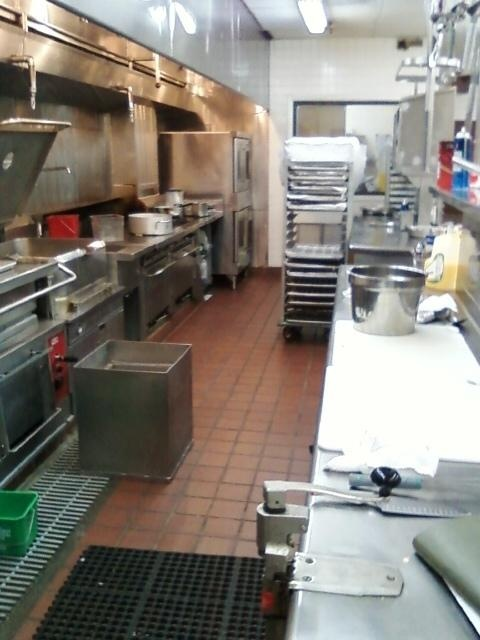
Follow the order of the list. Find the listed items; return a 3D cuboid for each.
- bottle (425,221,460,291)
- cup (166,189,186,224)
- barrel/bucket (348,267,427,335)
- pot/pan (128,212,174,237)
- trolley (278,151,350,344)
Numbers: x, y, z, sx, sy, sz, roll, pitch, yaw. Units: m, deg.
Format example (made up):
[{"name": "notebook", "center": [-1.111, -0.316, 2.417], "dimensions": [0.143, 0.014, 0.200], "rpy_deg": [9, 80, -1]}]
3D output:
[{"name": "bottle", "center": [0.982, -0.293, 2.470], "dimensions": [0.148, 0.299, 0.243], "rpy_deg": [4, 12, 19]}, {"name": "cup", "center": [-0.727, -1.310, 5.841], "dimensions": [0.282, 0.442, 0.405], "rpy_deg": [-2, 5, -10]}, {"name": "barrel/bucket", "center": [0.531, -0.063, 1.961], "dimensions": [0.252, 0.228, 0.293], "rpy_deg": [-8, 16, -26]}, {"name": "pot/pan", "center": [-0.791, -0.832, 4.487], "dimensions": [0.373, 0.195, 0.259], "rpy_deg": [-1, 12, -7]}, {"name": "trolley", "center": [0.682, -0.596, 4.600], "dimensions": [0.576, 1.595, 0.517], "rpy_deg": [3, 11, 15]}]
